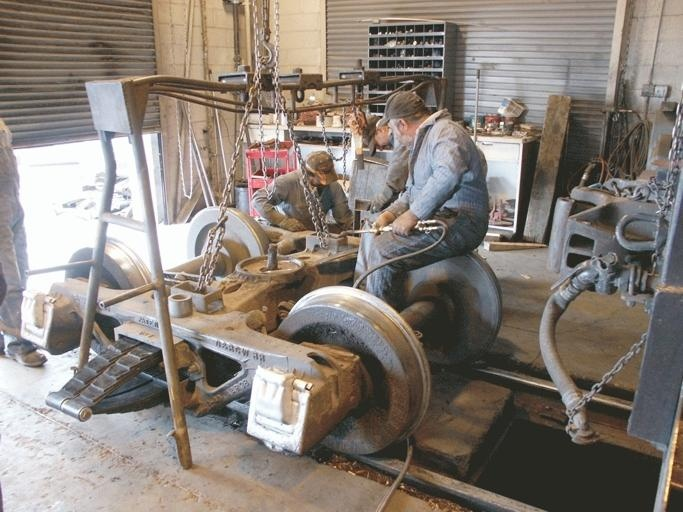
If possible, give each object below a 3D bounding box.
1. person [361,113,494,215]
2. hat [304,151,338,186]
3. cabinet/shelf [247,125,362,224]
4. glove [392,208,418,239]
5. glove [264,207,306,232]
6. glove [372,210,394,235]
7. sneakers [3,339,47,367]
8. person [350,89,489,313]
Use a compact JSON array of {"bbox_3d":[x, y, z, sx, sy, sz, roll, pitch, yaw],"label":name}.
[{"bbox_3d":[0.818,-0.913,5.131,0.840,0.842,1.956,9,-10,8],"label":"person"},{"bbox_3d":[-0.288,-1.102,6.142,0.374,0.190,0.272,33,35,10],"label":"hat"},{"bbox_3d":[-0.455,-0.690,6.622,1.404,1.414,0.967,6,32,-15],"label":"cabinet/shelf"},{"bbox_3d":[0.544,-0.273,4.293,0.226,0.242,0.106,4,21,13],"label":"glove"},{"bbox_3d":[-0.697,-0.422,6.178,0.480,0.118,0.271,28,37,18],"label":"glove"},{"bbox_3d":[0.379,-0.302,4.613,0.124,0.097,0.354,3,28,23],"label":"glove"},{"bbox_3d":[-2.861,0.874,4.613,0.473,0.191,0.170,10,21,11],"label":"sneakers"},{"bbox_3d":[0.738,-0.449,4.435,1.233,1.883,1.072,-1,20,1],"label":"person"}]
